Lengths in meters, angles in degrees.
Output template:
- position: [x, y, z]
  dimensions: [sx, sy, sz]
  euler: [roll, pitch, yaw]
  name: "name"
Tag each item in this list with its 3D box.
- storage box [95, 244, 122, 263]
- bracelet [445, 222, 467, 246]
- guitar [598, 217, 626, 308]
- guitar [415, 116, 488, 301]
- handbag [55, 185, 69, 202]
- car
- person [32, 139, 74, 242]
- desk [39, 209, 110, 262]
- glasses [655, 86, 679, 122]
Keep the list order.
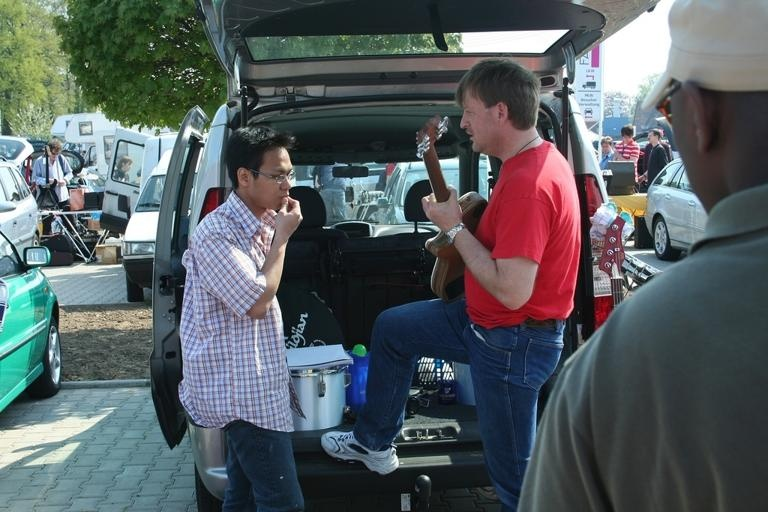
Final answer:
- position: [-5.726, -0.032, 14.141]
  dimensions: [0.389, 0.402, 0.407]
  euler: [0, -4, 4]
  name: "storage box"
- position: [0.295, -0.080, 2.928]
  dimensions: [0.077, 0.111, 0.029]
  euler: [25, 33, 9]
  name: "bracelet"
- position: [1.194, 0.050, 3.552]
  dimensions: [0.208, 0.563, 0.056]
  euler: [-7, 32, 10]
  name: "guitar"
- position: [0.311, -0.236, 3.233]
  dimensions: [0.127, 1.029, 0.411]
  euler: [25, 62, 33]
  name: "guitar"
- position: [-7.183, -1.350, 15.189]
  dimensions: [0.070, 0.321, 0.190]
  euler: [-11, 0, 43]
  name: "handbag"
- position: [-0.268, -0.143, 4.285]
  dimensions: [2.268, 1.971, 3.392]
  euler: [-3, 17, -7]
  name: "car"
- position: [-7.431, -1.483, 15.278]
  dimensions: [0.773, 2.214, 0.624]
  euler: [-8, 33, -37]
  name: "person"
- position: [-6.683, -0.653, 14.641]
  dimensions: [1.076, 0.783, 0.825]
  euler: [7, -3, 16]
  name: "desk"
- position: [0.511, -0.274, 1.234]
  dimensions: [0.011, 0.051, 0.029]
  euler: [11, -28, -4]
  name: "glasses"
